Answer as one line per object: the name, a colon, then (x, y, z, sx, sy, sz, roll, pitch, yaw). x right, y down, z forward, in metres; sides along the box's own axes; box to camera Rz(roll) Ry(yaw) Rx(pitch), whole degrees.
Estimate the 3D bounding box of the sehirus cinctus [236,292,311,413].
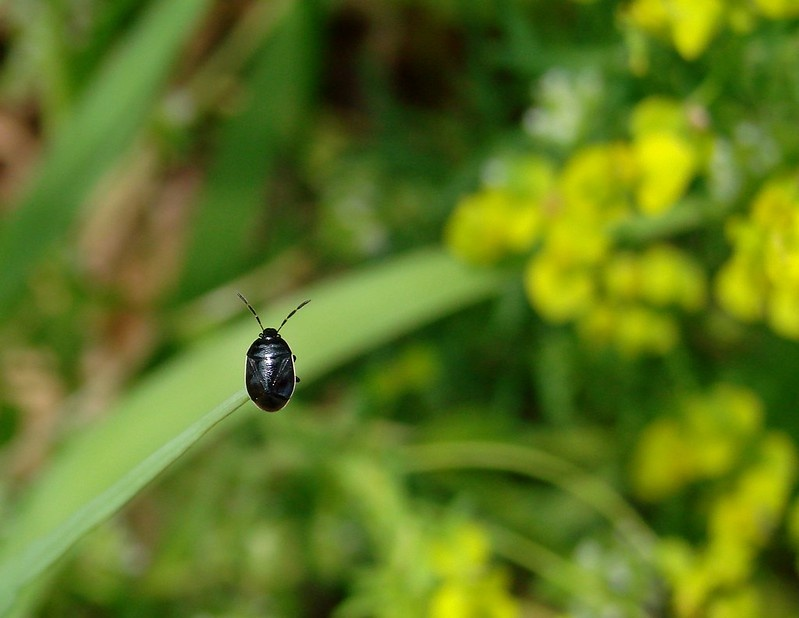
sehirus cinctus: (-0.190, 0.066, 1.267, 0.091, 0.177, 0.038, 3, -29, -8)
